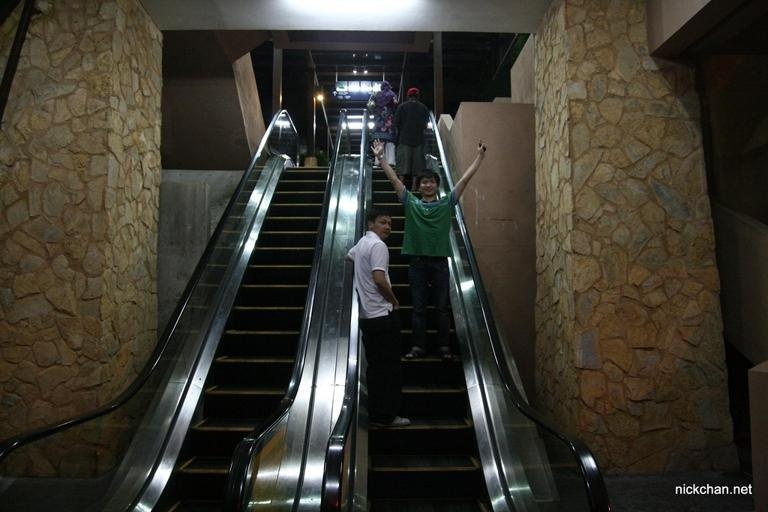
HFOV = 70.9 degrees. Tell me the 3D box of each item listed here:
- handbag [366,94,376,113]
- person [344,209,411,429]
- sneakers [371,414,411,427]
[{"bbox_3d":[-0.252,-2.743,9.847,0.117,0.283,0.222,2,27,9],"label":"handbag"},{"bbox_3d":[-0.017,0.654,5.384,0.488,1.858,0.935,-1,20,-11],"label":"person"},{"bbox_3d":[0.082,1.586,5.345,0.404,0.151,0.132,-2,-1,-9],"label":"sneakers"}]
